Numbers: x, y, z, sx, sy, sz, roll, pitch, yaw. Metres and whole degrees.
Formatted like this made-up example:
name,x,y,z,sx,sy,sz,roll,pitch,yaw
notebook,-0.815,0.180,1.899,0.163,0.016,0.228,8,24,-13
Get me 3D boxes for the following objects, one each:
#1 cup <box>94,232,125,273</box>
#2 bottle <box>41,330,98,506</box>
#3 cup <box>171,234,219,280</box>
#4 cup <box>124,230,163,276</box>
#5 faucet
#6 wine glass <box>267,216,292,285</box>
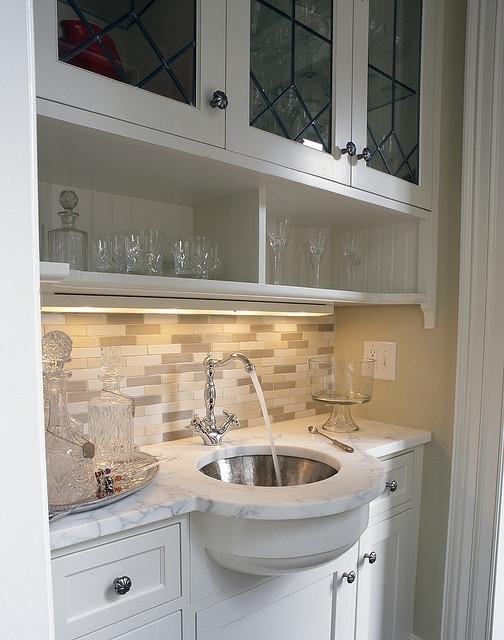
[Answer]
name,x,y,z,sx,sy,sz,roll,pitch,yaw
cup,-0.280,-0.130,1.032,0.054,0.077,0.042,1,1,-21
bottle,-0.339,0.166,0.971,0.096,0.285,0.278,1,1,-22
cup,-0.130,-0.128,1.156,0.096,0.113,0.101,-1,3,0
cup,-0.224,-0.134,1.091,0.080,0.098,0.083,1,-5,0
faucet,-0.064,0.213,1.409,0.167,0.251,0.183,-2,-3,32
wine glass,0.066,-0.174,1.351,0.056,0.175,0.058,2,4,8
